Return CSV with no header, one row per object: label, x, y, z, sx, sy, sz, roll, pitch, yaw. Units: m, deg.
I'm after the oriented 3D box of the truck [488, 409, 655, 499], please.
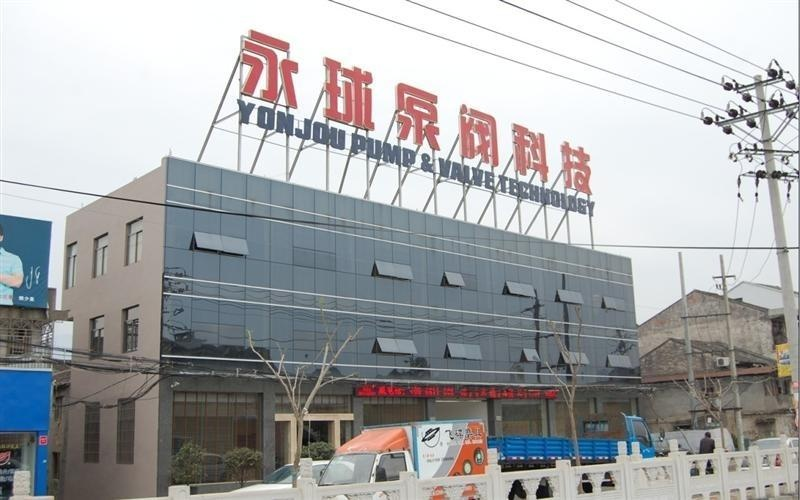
truck,9.457,8.775,42.525,9.685,4.243,3.845,2,-16,-20
